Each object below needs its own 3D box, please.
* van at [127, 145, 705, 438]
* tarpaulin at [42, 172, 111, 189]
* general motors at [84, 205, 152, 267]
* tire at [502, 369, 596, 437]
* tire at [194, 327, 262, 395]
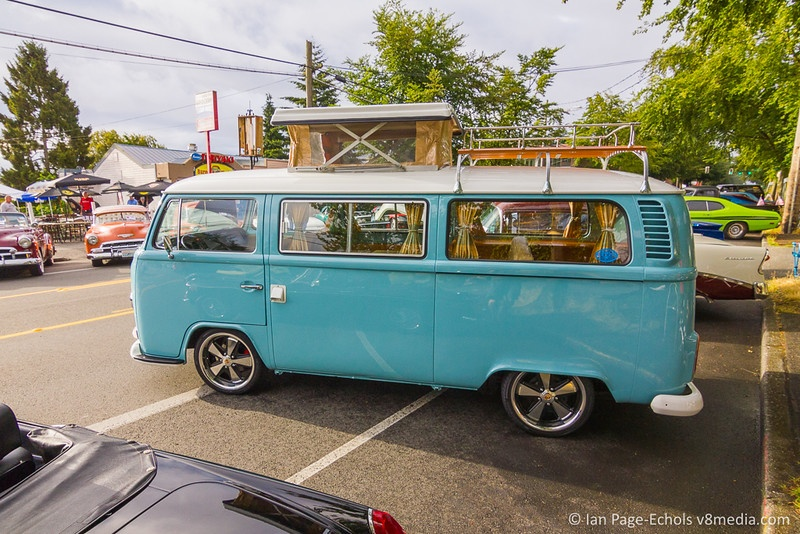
[{"bbox_3d":[0.025,0.241,7.536,7.822,2.804,2.516,3,8,17],"label":"van"},{"bbox_3d":[-14.656,-3.898,24.120,1.592,0.454,1.614,0,11,28],"label":"tarpaulin"},{"bbox_3d":[-9.423,-1.123,18.333,2.685,1.947,4.576,-4,4,-26],"label":"general motors"},{"bbox_3d":[1.749,1.587,6.234,0.748,0.690,0.252,15,18,5],"label":"tire"},{"bbox_3d":[-2.273,1.230,7.045,0.978,0.892,0.331,-1,12,20],"label":"tire"}]
